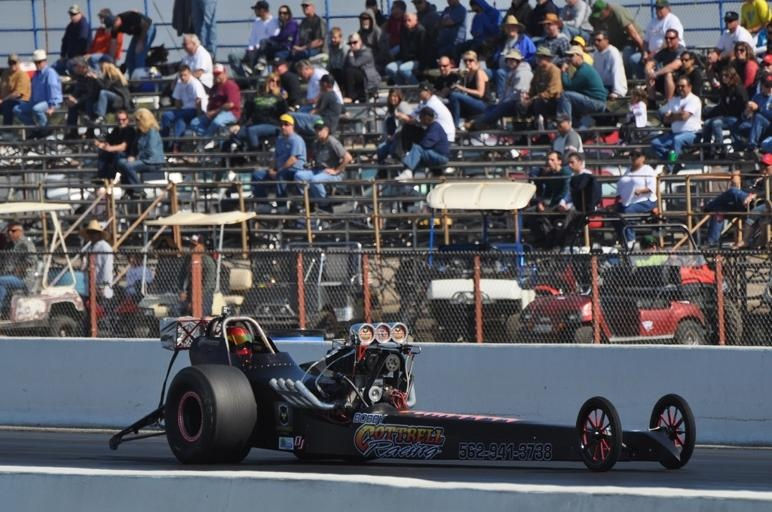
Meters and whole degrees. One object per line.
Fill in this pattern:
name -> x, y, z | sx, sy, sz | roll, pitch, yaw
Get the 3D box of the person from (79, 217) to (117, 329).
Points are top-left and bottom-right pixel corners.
person -> -5.398, 0.477, 40.180 | 0.869, 2.132, 0.567 | 10, 11, 41

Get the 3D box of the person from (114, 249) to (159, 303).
person -> -4.622, 0.457, 39.875 | 0.501, 0.936, 0.631 | 19, -3, -29

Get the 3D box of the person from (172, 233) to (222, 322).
person -> -3.470, 0.372, 39.954 | 0.800, 1.474, 0.668 | 0, -5, -5
